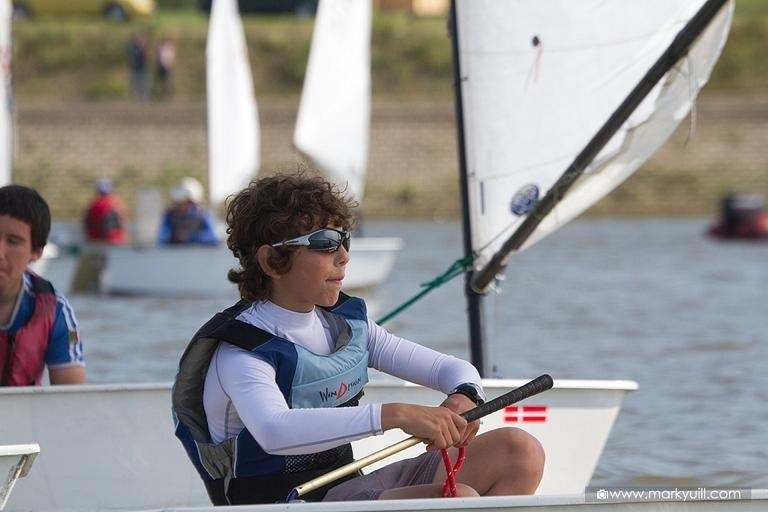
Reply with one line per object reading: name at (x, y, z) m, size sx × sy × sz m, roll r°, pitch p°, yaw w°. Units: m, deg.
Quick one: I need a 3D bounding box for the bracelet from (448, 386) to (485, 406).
bracelet at (0.497, 0.825, 11.706) m, size 0.145 × 0.074 × 0.126 m, roll 3°, pitch 3°, yaw 38°
